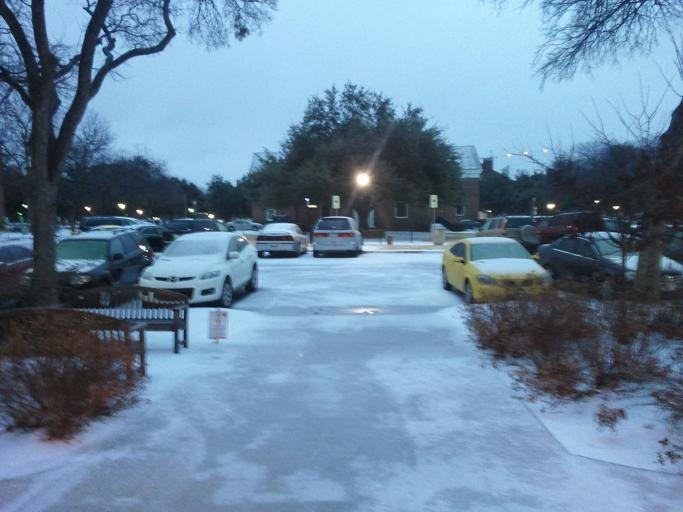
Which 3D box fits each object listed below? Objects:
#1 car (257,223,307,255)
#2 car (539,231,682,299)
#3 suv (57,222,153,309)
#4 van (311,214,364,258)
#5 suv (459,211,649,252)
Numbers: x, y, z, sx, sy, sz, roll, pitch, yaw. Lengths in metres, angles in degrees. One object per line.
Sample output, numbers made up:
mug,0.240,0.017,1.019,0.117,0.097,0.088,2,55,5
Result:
car,-2.671,-0.622,25.990,1.735,1.490,2.508,1,12,5
car,5.057,0.085,11.824,0.981,0.795,2.420,1,-2,-6
suv,-4.992,0.113,11.941,1.311,1.203,2.844,-1,1,-1
van,-0.229,-0.786,25.510,1.839,1.852,2.122,2,12,14
suv,5.239,-0.742,15.154,1.442,1.182,3.303,-3,5,-24
